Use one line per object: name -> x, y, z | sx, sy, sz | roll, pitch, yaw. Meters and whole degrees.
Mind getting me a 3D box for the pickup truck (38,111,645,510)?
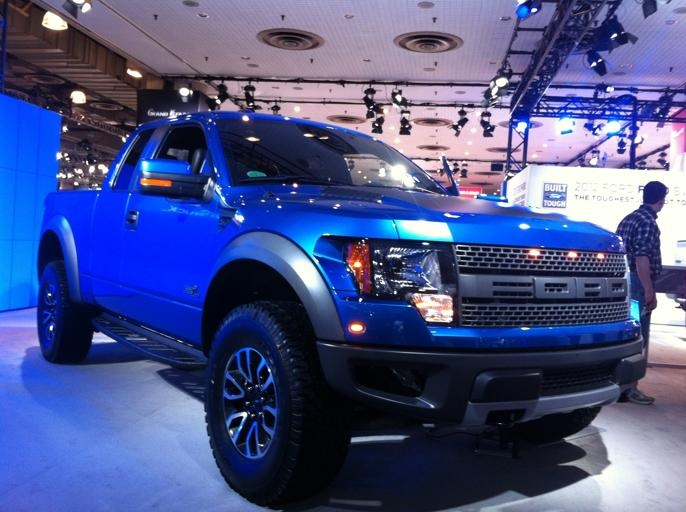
pickup truck -> -0.621, 0.098, 3.575 | 2.186, 1.284, 3.906 | 3, -2, -36
